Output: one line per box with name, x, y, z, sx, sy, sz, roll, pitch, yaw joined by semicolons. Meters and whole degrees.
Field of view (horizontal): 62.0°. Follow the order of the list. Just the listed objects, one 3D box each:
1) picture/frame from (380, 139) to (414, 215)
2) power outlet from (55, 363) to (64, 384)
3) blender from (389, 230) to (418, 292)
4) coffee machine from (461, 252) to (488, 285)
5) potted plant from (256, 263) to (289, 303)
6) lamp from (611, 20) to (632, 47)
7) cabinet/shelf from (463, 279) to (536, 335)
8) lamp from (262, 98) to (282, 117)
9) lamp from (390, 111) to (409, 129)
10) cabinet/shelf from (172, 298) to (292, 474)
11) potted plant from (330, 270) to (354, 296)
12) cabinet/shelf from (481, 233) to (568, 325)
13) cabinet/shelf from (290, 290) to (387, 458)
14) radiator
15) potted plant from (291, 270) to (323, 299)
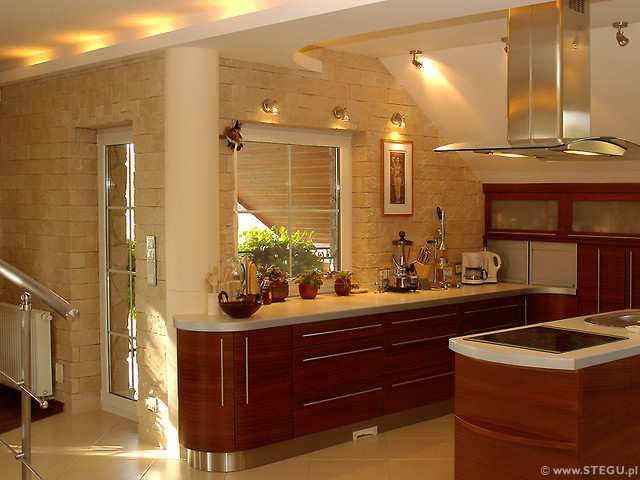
picture/frame;0.790;-0.637;5.466;0.085;0.757;0.435;2;4;44
power outlet;-2.577;1.325;5.280;0.159;0.215;0.016;1;4;36
blender;0.848;0.219;5.364;0.352;0.590;0.310;-9;1;24
coffee machine;1.657;0.311;5.772;0.357;0.399;0.284;-3;-4;44
potted plant;-0.472;0.381;4.727;0.351;0.299;0.301;0;-1;-39
lamp;2.166;-1.480;3.850;0.101;0.158;0.225;1;3;32
cabinet/shelf;1.772;0.549;5.311;0.806;0.433;0.444;-3;2;-38
lamp;-0.422;-1.163;4.632;0.069;0.146;0.174;2;3;40
lamp;0.795;-1.239;5.452;0.179;0.158;0.055;-2;3;-35
cabinet/shelf;-0.633;1.160;4.013;0.865;1.139;0.307;-1;3;-13
potted plant;0.213;0.405;5.032;0.230;0.193;0.214;1;-6;-11
cabinet/shelf;2.207;0.439;5.687;1.054;0.887;0.418;2;3;43
cabinet/shelf;-0.014;1.074;4.573;1.221;1.032;0.858;0;-2;-38
radiator;-2.460;0.911;4.495;0.155;0.933;1.427;-4;6;-42
potted plant;-0.122;0.404;4.827;0.269;0.233;0.249;1;0;-8
